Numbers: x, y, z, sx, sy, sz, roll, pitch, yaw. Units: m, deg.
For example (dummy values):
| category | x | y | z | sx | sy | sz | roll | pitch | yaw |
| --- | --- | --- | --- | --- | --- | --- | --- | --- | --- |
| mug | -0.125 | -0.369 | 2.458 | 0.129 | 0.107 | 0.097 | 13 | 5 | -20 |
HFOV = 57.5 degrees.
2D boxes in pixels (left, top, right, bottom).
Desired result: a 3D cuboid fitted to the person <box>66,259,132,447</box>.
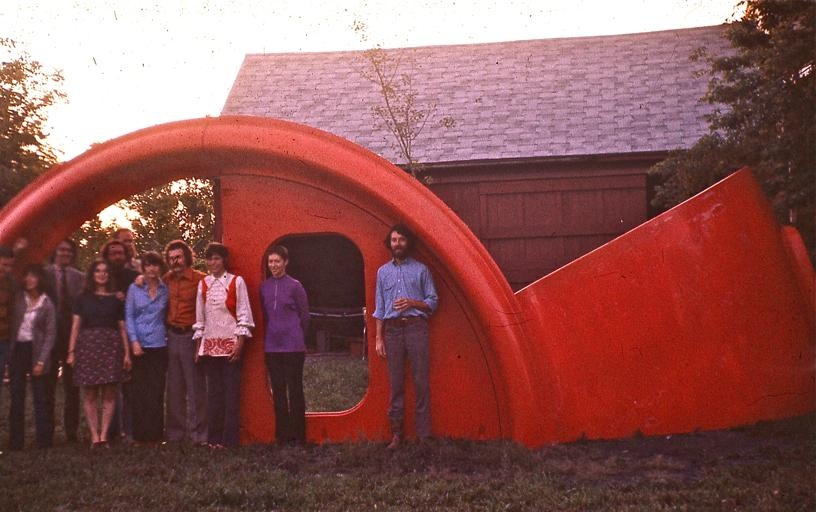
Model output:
| category | x | y | z | sx | sy | sz | roll | pitch | yaw |
| --- | --- | --- | --- | --- | --- | --- | --- | --- | --- |
| person | -3.743 | 1.150 | 9.029 | 0.538 | 2.161 | 0.578 | -13 | -18 | 32 |

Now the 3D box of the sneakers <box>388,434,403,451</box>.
| category | x | y | z | sx | sy | sz | roll | pitch | yaw |
| --- | --- | --- | --- | --- | --- | --- | --- | --- | --- |
| sneakers | -0.159 | 2.137 | 8.653 | 0.173 | 0.181 | 0.127 | -12 | -17 | 26 |

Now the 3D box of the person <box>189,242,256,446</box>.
| category | x | y | z | sx | sy | sz | roll | pitch | yaw |
| --- | --- | --- | --- | --- | --- | --- | --- | --- | --- |
| person | -2.228 | 1.057 | 8.959 | 0.636 | 2.333 | 0.694 | 4 | -17 | -25 |

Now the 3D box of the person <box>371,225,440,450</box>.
| category | x | y | z | sx | sy | sz | roll | pitch | yaw |
| --- | --- | --- | --- | --- | --- | --- | --- | --- | --- |
| person | -0.025 | 0.915 | 8.730 | 0.603 | 2.474 | 0.627 | 4 | -17 | -25 |

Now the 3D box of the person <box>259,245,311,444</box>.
| category | x | y | z | sx | sy | sz | roll | pitch | yaw |
| --- | --- | --- | --- | --- | --- | --- | --- | --- | --- |
| person | -1.479 | 1.211 | 8.912 | 0.558 | 1.951 | 0.477 | -1 | -15 | -9 |

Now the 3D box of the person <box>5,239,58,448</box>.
| category | x | y | z | sx | sy | sz | roll | pitch | yaw |
| --- | --- | --- | --- | --- | --- | --- | --- | --- | --- |
| person | -4.620 | 1.088 | 9.141 | 0.540 | 2.387 | 0.874 | 4 | -17 | -25 |
